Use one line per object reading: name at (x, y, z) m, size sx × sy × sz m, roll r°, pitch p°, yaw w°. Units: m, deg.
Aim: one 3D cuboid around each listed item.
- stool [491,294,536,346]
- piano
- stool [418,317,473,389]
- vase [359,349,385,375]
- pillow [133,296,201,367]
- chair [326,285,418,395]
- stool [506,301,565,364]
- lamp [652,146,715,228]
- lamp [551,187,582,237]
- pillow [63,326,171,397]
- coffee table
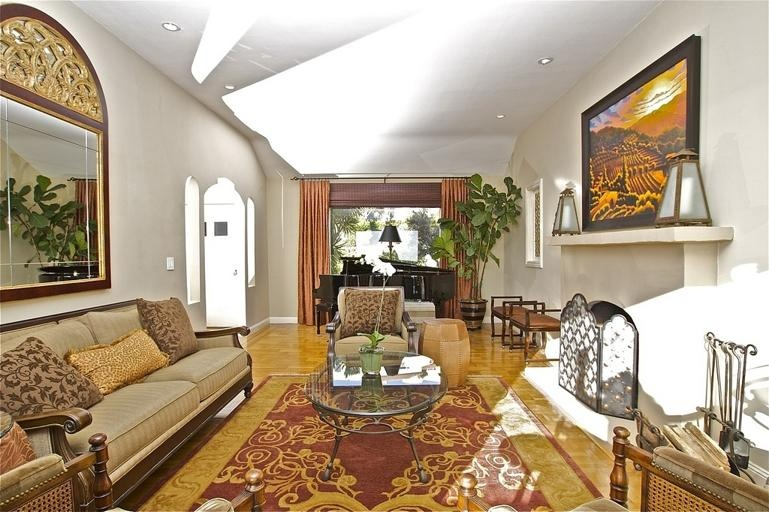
stool at (2.013, 0.955, 7.125) m, size 0.625 × 0.622 × 0.850 m, roll -2°, pitch -1°, yaw -5°
piano at (0.096, 0.594, 7.626) m, size 2.303 × 1.287 × 1.279 m, roll -1°, pitch -6°, yaw -1°
stool at (0.662, 1.143, 5.553) m, size 0.723 × 0.738 × 0.717 m, roll 19°, pitch -23°, yaw -41°
vase at (-0.118, 0.965, 4.280) m, size 0.229 × 0.211 × 0.227 m, roll -1°, pitch 1°, yaw -6°
pillow at (-2.246, 0.730, 4.870) m, size 0.361 × 0.627 × 0.727 m, roll -3°, pitch -3°, yaw 0°
chair at (-0.159, 0.947, 5.557) m, size 1.019 × 1.126 × 0.818 m, roll 0°, pitch 0°, yaw -6°
stool at (2.042, 1.026, 6.405) m, size 0.489 × 0.663 × 1.077 m, roll 0°, pitch -3°, yaw 4°
lamp at (2.512, -0.559, 3.874) m, size 0.342 × 0.631 × 0.299 m, roll -3°, pitch 12°, yaw -14°
lamp at (2.200, -0.532, 5.605) m, size 0.314 × 0.600 × 0.299 m, roll 2°, pitch -5°, yaw -17°
pillow at (-2.343, 0.923, 4.062) m, size 0.179 × 0.413 × 0.614 m, roll -40°, pitch -5°, yaw 23°
coffee table at (-0.064, 1.496, 4.232) m, size 1.290 × 0.704 × 1.359 m, roll 0°, pitch 4°, yaw 14°
